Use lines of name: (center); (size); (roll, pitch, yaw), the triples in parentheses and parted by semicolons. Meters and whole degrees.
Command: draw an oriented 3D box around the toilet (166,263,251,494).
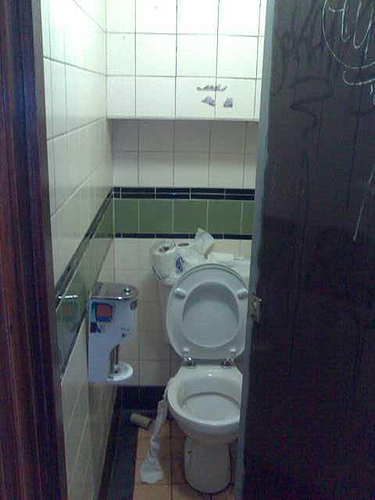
toilet: (0.081, 0.641, 2.044); (0.395, 1.088, 0.541); (3, 15, 9)

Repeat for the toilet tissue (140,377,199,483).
toilet tissue: (-0.099, 0.895, 2.101); (0.301, 0.496, 0.264); (-3, 15, -14)

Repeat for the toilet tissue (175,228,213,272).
toilet tissue: (0.040, -0.009, 2.227); (0.157, 0.260, 0.087); (-4, -14, -22)

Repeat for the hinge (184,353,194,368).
hinge: (0.012, 0.580, 2.164); (0.034, 0.087, 0.065); (2, 5, 8)

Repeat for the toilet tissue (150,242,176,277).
toilet tissue: (-0.114, 0.048, 2.193); (0.137, 0.283, 0.125); (-2, -2, 1)
